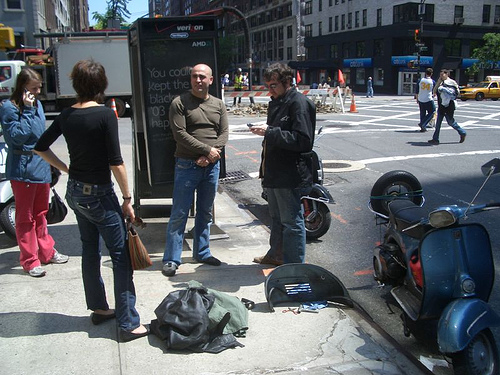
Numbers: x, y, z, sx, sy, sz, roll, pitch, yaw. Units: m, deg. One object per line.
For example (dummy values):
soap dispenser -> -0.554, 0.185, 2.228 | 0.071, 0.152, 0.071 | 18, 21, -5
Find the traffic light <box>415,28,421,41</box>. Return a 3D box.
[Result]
traffic light -> 13.854, -12.611, 34.591 | 0.268, 1.018, 1.643 | 7, 15, 25

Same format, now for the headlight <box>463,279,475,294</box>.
headlight -> 1.773, 0.807, 3.397 | 0.097, 0.112, 0.027 | -2, 13, -13

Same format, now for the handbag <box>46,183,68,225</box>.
handbag -> -2.608, 0.212, 5.604 | 0.257, 0.639, 0.352 | -6, 15, -26

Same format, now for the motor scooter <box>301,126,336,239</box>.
motor scooter -> 1.026, -0.022, 6.298 | 0.501, 1.685, 0.922 | 4, 13, 11

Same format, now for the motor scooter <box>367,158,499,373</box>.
motor scooter -> 1.669, 0.685, 3.650 | 0.661, 1.225, 1.277 | -2, 14, -12

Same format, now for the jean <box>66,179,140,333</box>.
jean -> -1.317, 0.592, 3.799 | 0.701, 1.333, 0.302 | 10, 16, 34

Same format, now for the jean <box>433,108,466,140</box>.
jean -> 6.945, -2.238, 14.703 | 1.220, 1.058, 1.154 | 2, 13, 3

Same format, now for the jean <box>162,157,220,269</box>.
jean -> -0.758, 0.311, 5.282 | 0.894, 1.373, 0.384 | -10, 17, -40

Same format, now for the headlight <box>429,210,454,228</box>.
headlight -> 1.548, 0.252, 3.397 | 0.168, 0.093, 0.081 | -4, -24, -44

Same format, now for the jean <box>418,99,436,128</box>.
jean -> 7.062, -2.954, 16.810 | 0.606, 1.122, 0.973 | 6, 14, 20

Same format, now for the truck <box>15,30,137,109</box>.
truck -> -9.898, -6.403, 23.762 | 8.654, 4.384, 2.991 | -15, 26, -37

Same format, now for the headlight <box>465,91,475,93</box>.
headlight -> 19.384, -8.424, 36.883 | 0.695, 0.139, 0.107 | 7, 14, 23

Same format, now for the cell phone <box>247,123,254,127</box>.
cell phone -> -0.005, -0.736, 4.926 | 0.060, 0.028, 0.084 | 5, 8, -24

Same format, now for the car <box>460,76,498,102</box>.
car -> 20.567, -8.888, 37.775 | 4.148, 1.696, 1.754 | -2, 7, -13

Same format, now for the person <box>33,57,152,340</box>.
person -> -1.367, 0.071, 3.873 | 1.126, 2.476, 0.689 | 13, 17, 41

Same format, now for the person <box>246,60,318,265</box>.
person -> 0.355, -0.198, 5.021 | 0.784, 2.538, 1.444 | 3, 13, 7

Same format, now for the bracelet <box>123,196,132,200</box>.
bracelet -> -1.134, 0.093, 3.839 | 0.055, 0.014, 0.054 | 1, 9, 5

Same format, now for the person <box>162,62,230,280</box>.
person -> -0.677, -0.241, 5.180 | 1.080, 2.477, 0.530 | -10, 17, -40
